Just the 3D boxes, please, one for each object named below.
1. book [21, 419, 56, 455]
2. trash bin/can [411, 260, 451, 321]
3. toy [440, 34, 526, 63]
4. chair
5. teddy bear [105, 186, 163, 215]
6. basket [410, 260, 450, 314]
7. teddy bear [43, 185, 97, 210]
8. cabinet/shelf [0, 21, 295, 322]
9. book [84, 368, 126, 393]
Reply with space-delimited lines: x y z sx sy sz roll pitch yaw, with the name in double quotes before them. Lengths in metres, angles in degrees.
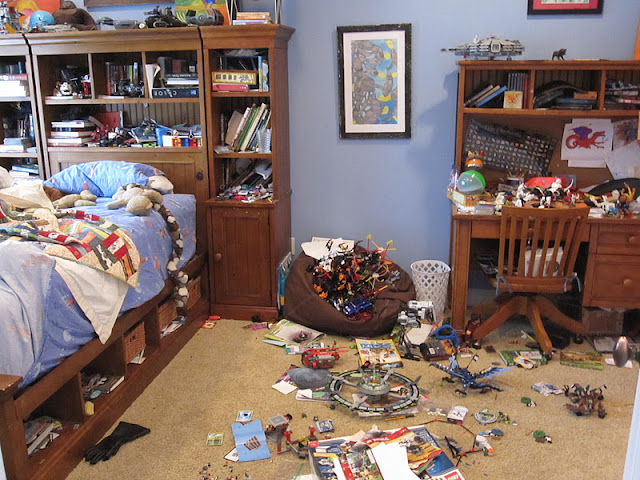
"book" -1.362 0.952 2.431 0.128 0.038 0.129 9 24 -7
"trash bin/can" 0.823 0.371 3.717 0.325 0.405 0.323 1 3 13
"toy" 1.149 -1.281 3.412 0.418 0.148 0.297 2 19 7
"chair" 1.468 0.193 3.457 0.788 0.934 0.699 0 13 3
"teddy bear" -1.238 -0.239 3.307 0.289 0.109 0.212 7 36 24
"basket" 0.810 0.319 3.760 0.411 0.429 0.392 0 6 7
"teddy bear" -1.709 -0.283 3.418 0.224 0.104 0.305 6 7 45
"cabinet/shelf" -1.125 -0.502 3.478 2.485 2.392 0.723 0 19 5
"book" -1.217 0.777 2.780 0.119 0.034 0.119 10 10 35
